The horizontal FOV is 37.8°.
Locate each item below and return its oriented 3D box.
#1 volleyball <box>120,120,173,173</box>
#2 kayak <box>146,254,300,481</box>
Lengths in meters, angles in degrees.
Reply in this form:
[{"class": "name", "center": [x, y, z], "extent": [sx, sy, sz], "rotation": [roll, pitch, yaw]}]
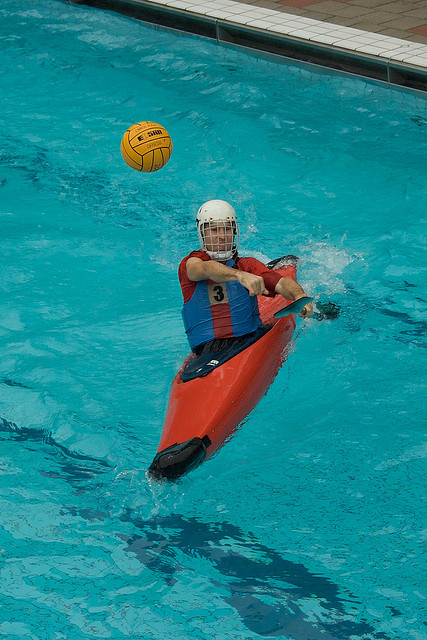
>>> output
[{"class": "volleyball", "center": [-0.492, -1.294, 4.609], "extent": [0.413, 0.348, 0.372], "rotation": [-10, 26, -15]}, {"class": "kayak", "center": [0.143, 0.230, 3.375], "extent": [0.453, 0.324, 1.587], "rotation": [13, 45, 35]}]
